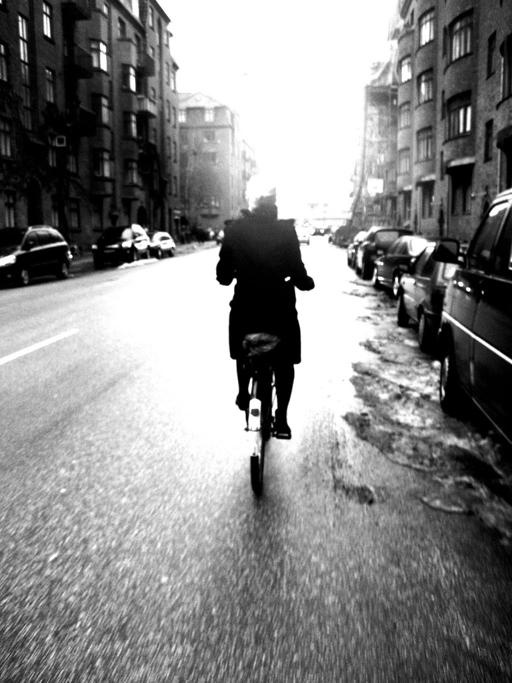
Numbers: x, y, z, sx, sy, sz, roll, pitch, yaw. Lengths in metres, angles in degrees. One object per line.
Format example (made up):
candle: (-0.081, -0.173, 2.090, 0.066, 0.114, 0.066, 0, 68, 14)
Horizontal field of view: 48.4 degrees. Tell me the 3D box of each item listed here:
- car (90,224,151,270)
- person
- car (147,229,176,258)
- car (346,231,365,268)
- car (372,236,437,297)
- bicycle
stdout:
car: (-7.578, -5.371, 31.800, 1.486, 2.703, 4.863, 1, 4, 10)
person: (0.054, -0.134, 3.648, 0.608, 1.613, 0.414, 0, 1, -8)
car: (-6.390, -6.480, 38.427, 0.906, 1.942, 4.709, 0, 4, 1)
car: (4.980, -4.451, 27.613, 0.711, 1.379, 2.203, 0, 28, 1)
car: (3.771, -2.082, 15.084, 0.635, 1.188, 2.399, 0, 23, 0)
bicycle: (0.054, 0.116, 3.554, 0.341, 1.099, 1.386, 0, 22, 2)
